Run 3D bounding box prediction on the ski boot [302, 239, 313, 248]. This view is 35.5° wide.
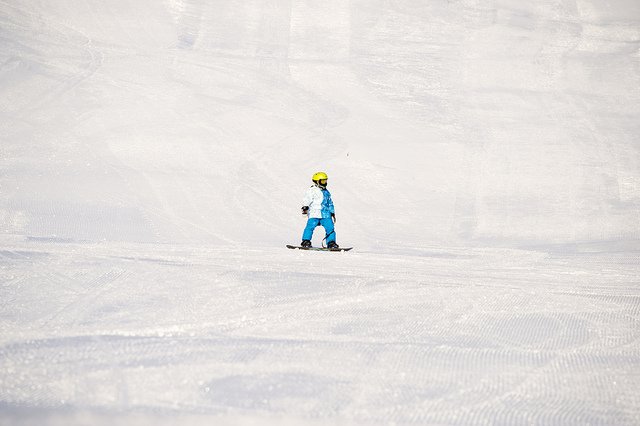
[{"bbox_3d":[-0.291,0.734,24.590,0.270,0.221,0.208,9,-19,-3],"label":"ski boot"}]

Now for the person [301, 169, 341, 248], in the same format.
[{"bbox_3d":[0.028,-0.080,24.869,0.941,1.934,0.422,20,-23,-24],"label":"person"}]
